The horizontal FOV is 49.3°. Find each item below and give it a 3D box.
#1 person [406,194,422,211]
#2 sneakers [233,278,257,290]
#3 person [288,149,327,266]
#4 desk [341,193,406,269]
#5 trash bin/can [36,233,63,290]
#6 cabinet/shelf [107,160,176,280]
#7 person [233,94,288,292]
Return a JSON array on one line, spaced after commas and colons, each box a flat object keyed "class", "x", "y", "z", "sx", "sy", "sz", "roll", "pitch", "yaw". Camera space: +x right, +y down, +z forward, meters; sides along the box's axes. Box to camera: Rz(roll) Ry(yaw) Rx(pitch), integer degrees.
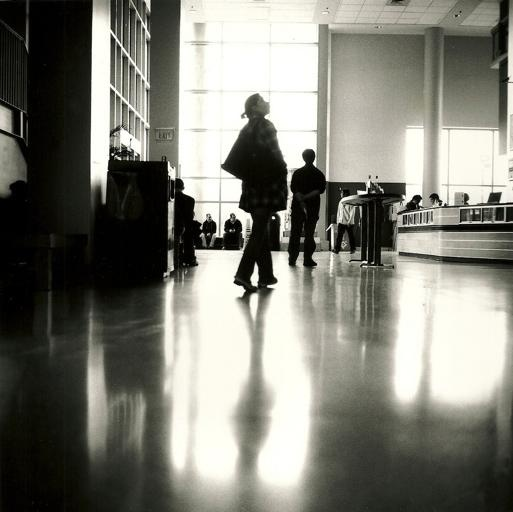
[{"class": "person", "x": 2.936, "y": -0.992, "z": 10.473, "sx": 0.260, "sy": 0.303, "sz": 1.477, "roll": 4, "pitch": 7, "yaw": 15}, {"class": "sneakers", "x": -0.066, "y": 0.179, "z": 3.520, "sx": 0.143, "sy": 0.091, "sz": 0.149, "roll": 6, "pitch": 6, "yaw": 15}, {"class": "person", "x": 0.554, "y": -0.540, "z": 6.305, "sx": 0.381, "sy": 1.338, "sz": 0.651, "roll": 2, "pitch": 4, "yaw": 3}, {"class": "desk", "x": 1.299, "y": -0.268, "z": 6.206, "sx": 0.473, "sy": 0.783, "sz": 0.562, "roll": 2, "pitch": -4, "yaw": 6}, {"class": "trash bin/can", "x": -1.207, "y": 0.035, "z": 3.227, "sx": 0.118, "sy": 0.282, "sz": 0.268, "roll": 0, "pitch": 2, "yaw": -4}, {"class": "cabinet/shelf", "x": -0.888, "y": -0.301, "z": 4.355, "sx": 0.370, "sy": 0.934, "sz": 0.466, "roll": 0, "pitch": -1, "yaw": -8}, {"class": "person", "x": 0.033, "y": -0.414, "z": 3.639, "sx": 0.324, "sy": 1.276, "sz": 0.461, "roll": 2, "pitch": 4, "yaw": 2}]
